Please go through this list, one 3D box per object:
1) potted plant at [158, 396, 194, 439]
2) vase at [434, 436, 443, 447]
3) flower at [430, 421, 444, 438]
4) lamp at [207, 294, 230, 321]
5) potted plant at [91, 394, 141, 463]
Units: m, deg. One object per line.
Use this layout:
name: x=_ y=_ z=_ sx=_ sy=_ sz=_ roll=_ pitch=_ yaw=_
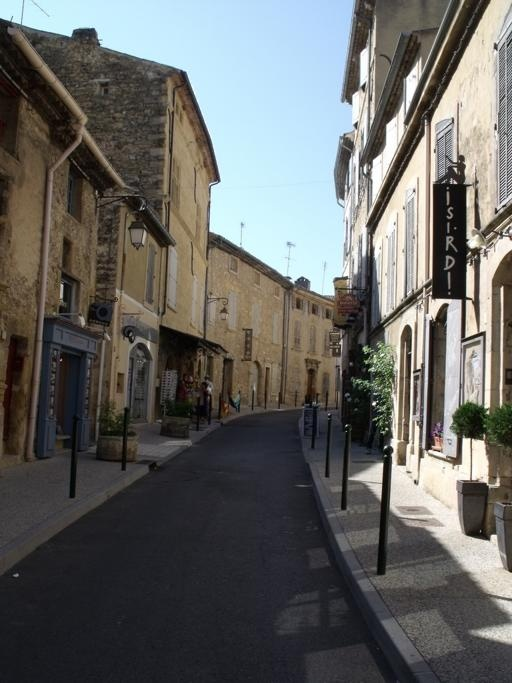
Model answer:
potted plant: x=-2.407 y=2.285 z=16.428 sx=0.812 sy=1.332 sz=1.003 roll=2 pitch=-2 yaw=-11
vase: x=2.874 y=1.612 z=8.546 sx=0.123 sy=0.199 sz=0.172 roll=2 pitch=-2 yaw=-9
flower: x=2.927 y=1.439 z=8.757 sx=0.169 sy=0.242 sz=0.201 roll=4 pitch=-8 yaw=-11
lamp: x=-2.178 y=-2.077 z=33.035 sx=1.118 sy=2.405 sz=1.329 roll=0 pitch=-1 yaw=5
potted plant: x=-2.832 y=2.045 z=11.138 sx=0.712 sy=1.355 sz=0.802 roll=5 pitch=-31 yaw=-17
